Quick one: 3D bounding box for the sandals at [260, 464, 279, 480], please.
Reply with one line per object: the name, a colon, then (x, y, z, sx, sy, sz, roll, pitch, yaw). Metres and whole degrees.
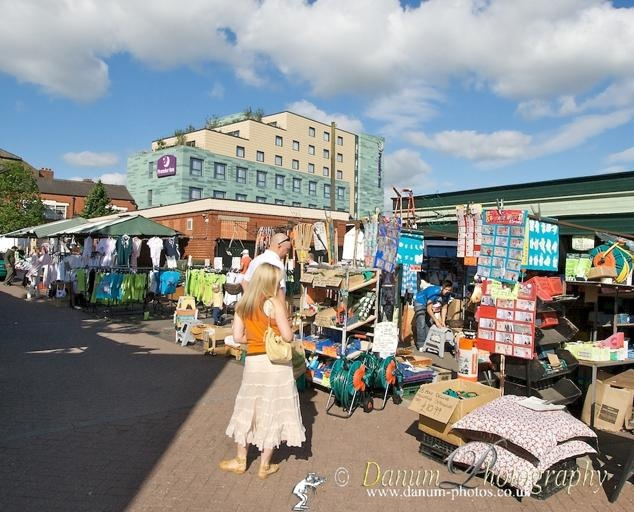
sandals: (-0.537, 2.342, 4.892, 0.090, 0.125, 0.281, 2, 5, 38)

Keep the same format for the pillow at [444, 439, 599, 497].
pillow: (2.039, 2.268, 4.832, 0.833, 0.231, 0.896, 4, -6, -34)

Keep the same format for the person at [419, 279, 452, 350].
person: (2.657, 1.386, 10.202, 0.628, 1.129, 1.046, 1, 2, -17)

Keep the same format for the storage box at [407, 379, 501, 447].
storage box: (1.593, 1.855, 5.548, 1.057, 0.534, 0.764, -1, -1, -41)

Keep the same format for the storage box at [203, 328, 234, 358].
storage box: (-2.221, 1.909, 9.817, 0.629, 0.516, 0.480, 0, 1, -27)

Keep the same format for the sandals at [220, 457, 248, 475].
sandals: (-0.937, 2.324, 4.957, 0.264, 0.114, 0.152, 6, -8, 16)

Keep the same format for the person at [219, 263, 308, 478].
person: (-0.553, 1.242, 4.771, 0.857, 2.328, 0.448, 2, 1, -1)

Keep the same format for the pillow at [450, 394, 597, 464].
pillow: (2.385, 1.881, 4.913, 0.795, 0.225, 0.811, -3, 2, -19)

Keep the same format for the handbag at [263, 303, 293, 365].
handbag: (-0.370, 0.849, 4.698, 0.286, 0.630, 0.472, -7, -22, 10)
